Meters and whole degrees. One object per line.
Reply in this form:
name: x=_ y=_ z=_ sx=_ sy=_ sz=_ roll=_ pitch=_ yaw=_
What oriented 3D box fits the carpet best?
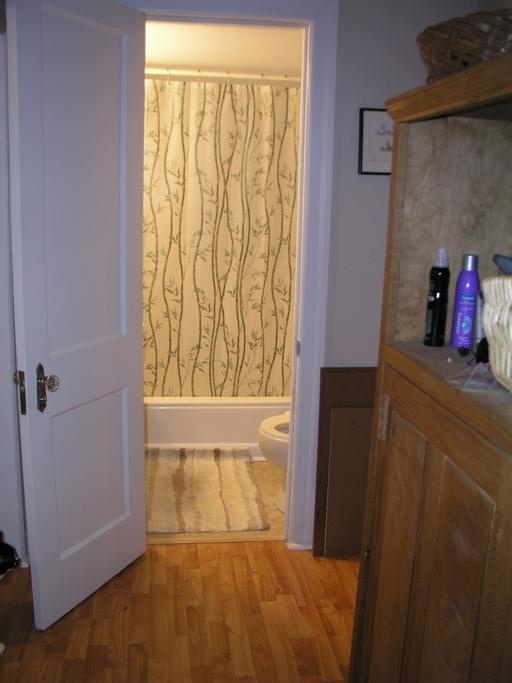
carpet: x=-0.309 y=0.813 z=2.911 sx=0.663 sy=0.040 sz=1.012 roll=1 pitch=10 yaw=-9

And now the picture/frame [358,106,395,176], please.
picture/frame: x=0.506 y=-0.829 z=2.071 sx=0.142 sy=0.248 sz=0.007 roll=-2 pitch=-12 yaw=33
